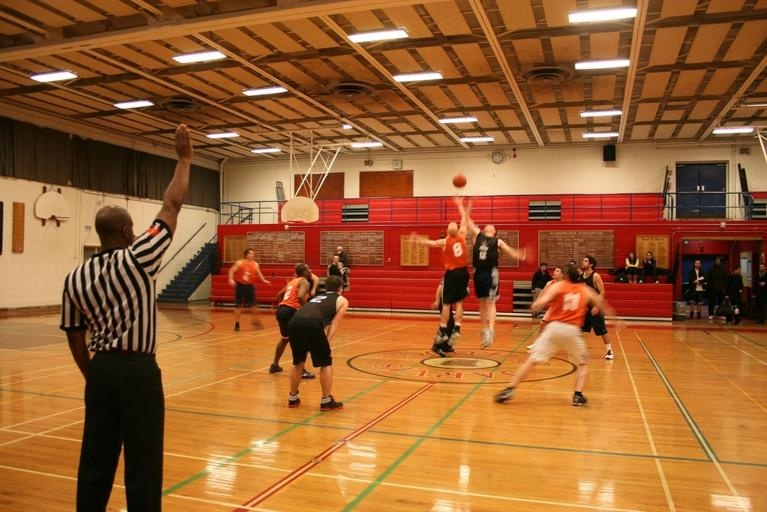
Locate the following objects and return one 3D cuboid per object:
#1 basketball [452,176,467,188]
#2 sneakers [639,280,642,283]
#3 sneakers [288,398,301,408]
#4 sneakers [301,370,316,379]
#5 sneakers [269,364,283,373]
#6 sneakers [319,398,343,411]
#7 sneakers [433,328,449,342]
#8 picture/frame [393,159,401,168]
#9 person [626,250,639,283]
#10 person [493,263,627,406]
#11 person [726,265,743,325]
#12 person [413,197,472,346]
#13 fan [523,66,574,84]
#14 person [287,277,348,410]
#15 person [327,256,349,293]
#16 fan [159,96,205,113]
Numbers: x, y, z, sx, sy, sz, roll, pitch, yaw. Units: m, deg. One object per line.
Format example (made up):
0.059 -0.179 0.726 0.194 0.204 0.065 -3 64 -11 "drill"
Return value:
1.323 -1.305 9.123 0.193 0.222 0.248 0 4 -1 "basketball"
8.924 0.901 18.263 0.119 0.123 0.115 5 -10 8 "sneakers"
-1.267 2.107 7.505 0.077 0.082 0.204 1 1 10 "sneakers"
-1.294 2.061 9.057 0.288 0.180 0.110 -2 -3 11 "sneakers"
-1.907 2.028 9.412 0.290 0.114 0.101 3 -1 -38 "sneakers"
-0.733 2.073 7.336 0.357 0.188 0.133 -1 -1 -16 "sneakers"
1.123 1.476 9.922 0.244 0.251 0.198 0 4 0 "sneakers"
0.675 -4.320 24.768 0.472 0.417 0.341 1 2 6 "picture/frame"
8.759 0.372 18.507 0.455 1.067 0.839 2 4 24 "person"
2.424 1.158 7.483 1.236 2.014 0.478 0 4 -5 "person"
11.345 1.262 17.076 0.392 1.801 1.076 3 5 31 "person"
1.252 0.430 10.029 0.724 3.047 1.142 0 4 6 "person"
4.639 -5.257 14.921 1.241 0.304 0.834 1 4 10 "fan"
-0.917 1.226 7.372 0.823 1.868 0.743 -1 4 -10 "person"
-1.747 0.655 19.363 0.818 1.291 0.729 -5 10 -7 "person"
-6.899 -5.219 18.021 1.243 0.269 1.487 -2 4 -29 "fan"
